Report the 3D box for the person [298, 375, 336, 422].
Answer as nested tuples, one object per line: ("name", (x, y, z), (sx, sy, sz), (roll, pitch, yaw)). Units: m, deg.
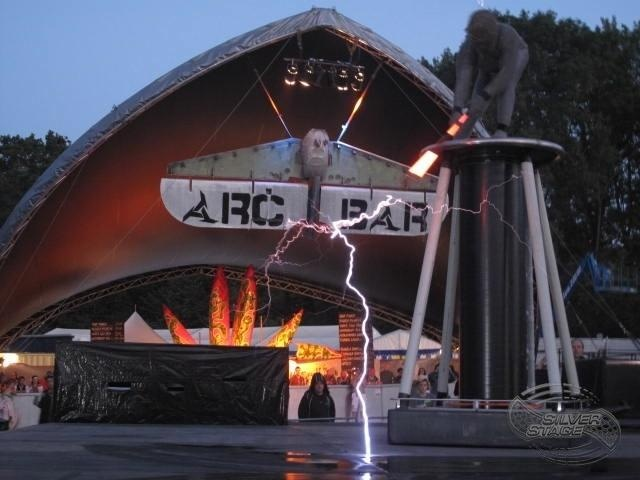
("person", (-0.086, 4.277, 23.581), (0.962, 1.583, 0.596), (2, 12, -1))
